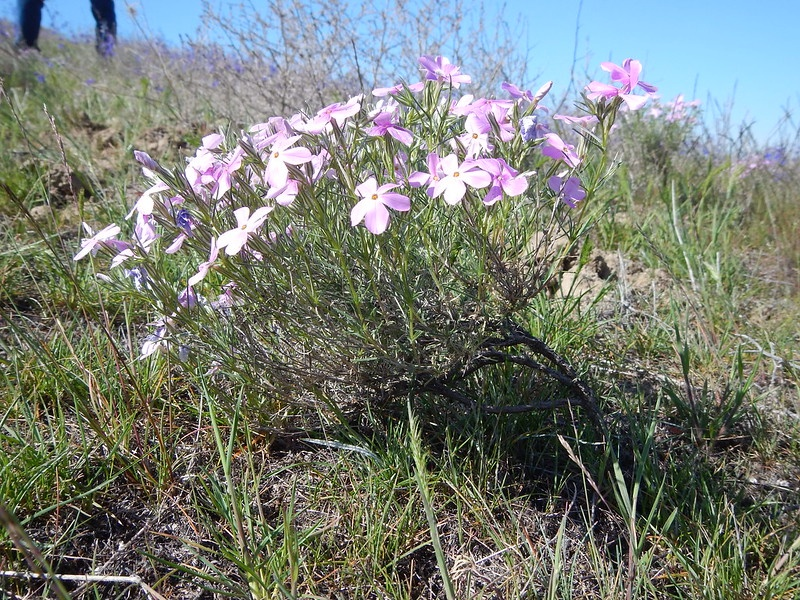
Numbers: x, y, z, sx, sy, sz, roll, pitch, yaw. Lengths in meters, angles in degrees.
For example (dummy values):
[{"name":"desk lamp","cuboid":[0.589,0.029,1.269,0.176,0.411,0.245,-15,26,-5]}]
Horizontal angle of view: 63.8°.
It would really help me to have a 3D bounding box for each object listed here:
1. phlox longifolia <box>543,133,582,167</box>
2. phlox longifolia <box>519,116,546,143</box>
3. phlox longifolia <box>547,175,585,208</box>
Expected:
[{"name":"phlox longifolia","cuboid":[0.679,-0.630,2.709,0.165,0.125,0.197,13,14,12]},{"name":"phlox longifolia","cuboid":[0.565,-0.729,2.756,0.101,0.106,0.193,12,14,13]},{"name":"phlox longifolia","cuboid":[0.719,-0.463,2.731,0.184,0.128,0.106,-1,16,-36]}]
